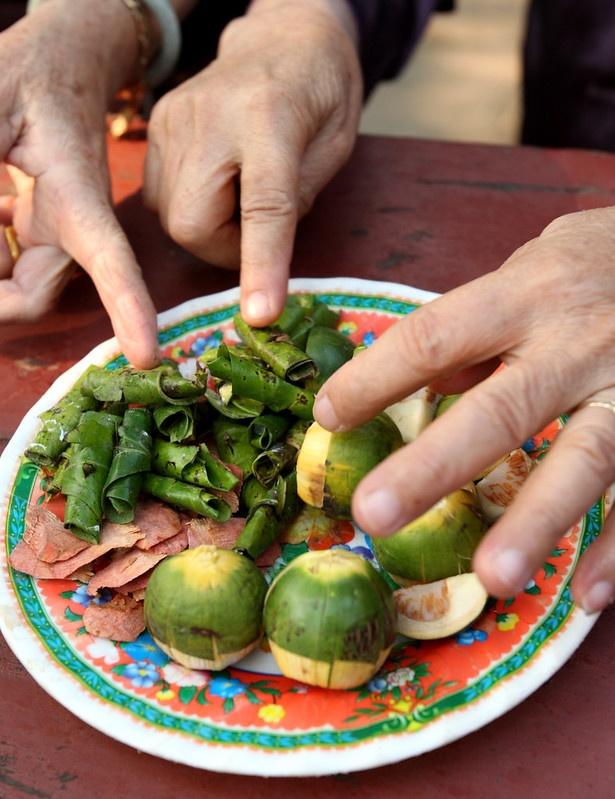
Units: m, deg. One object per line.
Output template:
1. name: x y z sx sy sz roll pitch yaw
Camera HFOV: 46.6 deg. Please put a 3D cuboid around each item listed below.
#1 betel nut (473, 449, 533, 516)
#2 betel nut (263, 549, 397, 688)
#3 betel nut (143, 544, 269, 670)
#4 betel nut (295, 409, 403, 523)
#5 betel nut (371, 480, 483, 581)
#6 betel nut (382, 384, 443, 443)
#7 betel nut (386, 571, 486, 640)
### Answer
1. betel nut: 0.383 0.166 1.414 0.158 0.038 0.091 -43 97 -24
2. betel nut: 0.031 0.345 1.189 0.234 0.218 0.206 18 70 -25
3. betel nut: -0.153 0.360 1.269 0.218 0.190 0.202 -13 41 -26
4. betel nut: 0.087 0.114 1.418 0.189 0.202 0.125 16 7 10
5. betel nut: 0.223 0.259 1.352 0.213 0.211 0.195 -6 16 12
6. betel nut: 0.236 0.032 1.497 0.114 0.050 0.113 -42 39 10
7. betel nut: 0.233 0.386 1.270 0.182 0.055 0.131 -19 28 19
